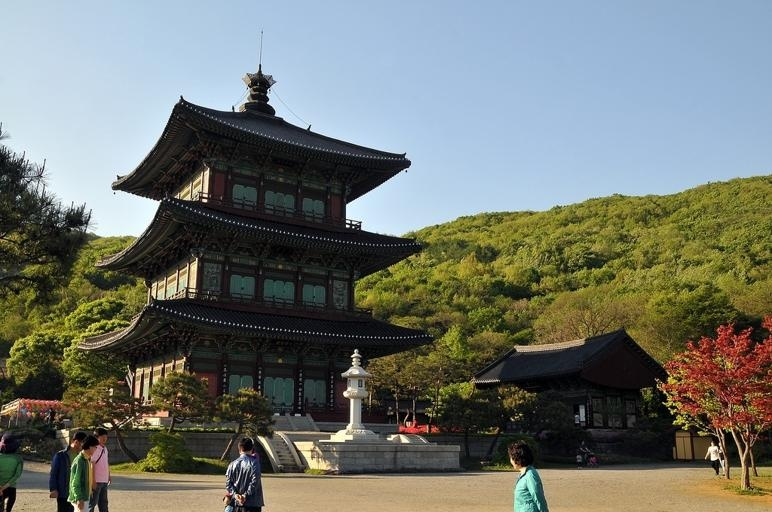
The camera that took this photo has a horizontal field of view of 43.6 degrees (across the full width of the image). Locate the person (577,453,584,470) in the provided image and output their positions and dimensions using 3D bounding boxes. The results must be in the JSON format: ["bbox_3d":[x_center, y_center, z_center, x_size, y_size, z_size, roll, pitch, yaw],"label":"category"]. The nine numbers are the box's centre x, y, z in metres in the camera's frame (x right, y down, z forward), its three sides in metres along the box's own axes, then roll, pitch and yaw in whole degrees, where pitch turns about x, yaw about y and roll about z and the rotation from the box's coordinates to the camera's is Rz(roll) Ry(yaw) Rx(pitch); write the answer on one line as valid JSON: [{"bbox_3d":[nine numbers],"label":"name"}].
[{"bbox_3d":[13.622,14.278,67.409,0.499,1.074,1.426,-3,-17,11],"label":"person"}]

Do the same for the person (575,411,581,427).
[{"bbox_3d":[14.878,12.698,75.092,0.709,1.217,0.710,-3,-21,13],"label":"person"}]
